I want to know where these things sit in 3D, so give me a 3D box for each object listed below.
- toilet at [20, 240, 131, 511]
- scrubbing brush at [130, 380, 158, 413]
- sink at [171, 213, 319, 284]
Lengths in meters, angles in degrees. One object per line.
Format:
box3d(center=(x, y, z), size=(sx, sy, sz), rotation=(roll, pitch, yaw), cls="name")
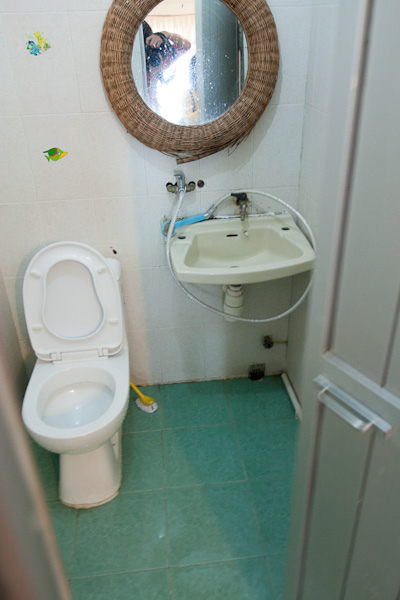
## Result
box3d(center=(-0.550, 0.317, 2.014), size=(0.444, 1.027, 0.770), rotation=(-7, 31, -6), cls="toilet")
box3d(center=(-0.327, 0.529, 2.558), size=(0.078, 0.098, 0.245), rotation=(-19, 32, -29), cls="scrubbing brush")
box3d(center=(0.183, -0.214, 2.080), size=(0.629, 0.189, 0.493), rotation=(-5, 33, -1), cls="sink")
